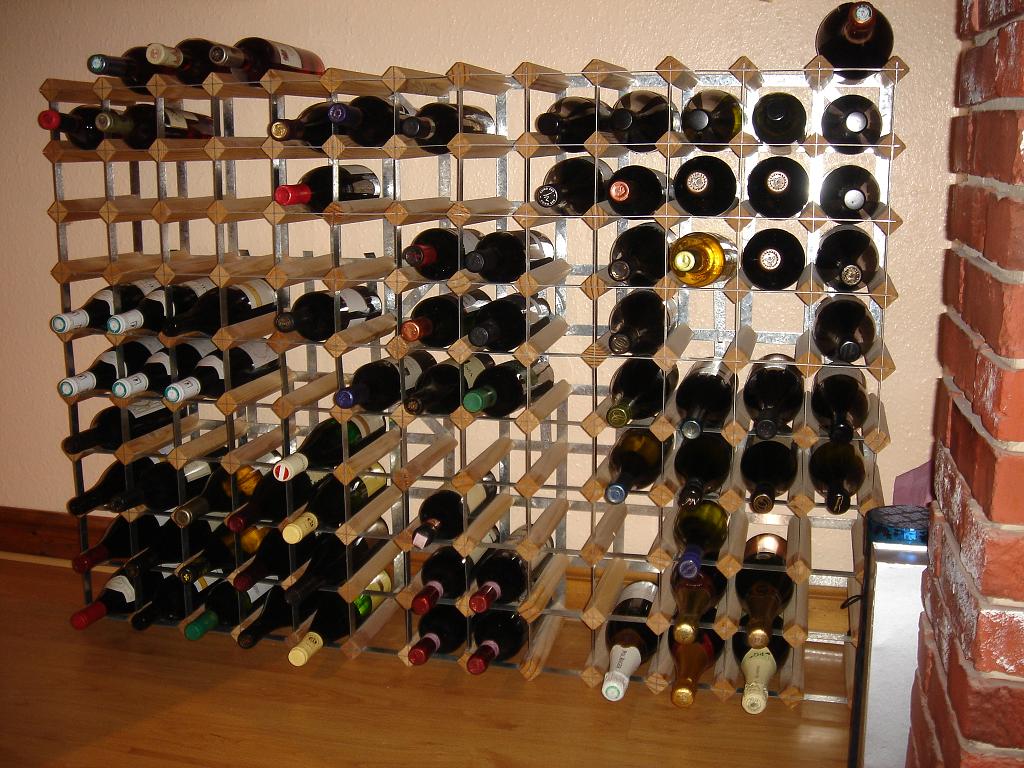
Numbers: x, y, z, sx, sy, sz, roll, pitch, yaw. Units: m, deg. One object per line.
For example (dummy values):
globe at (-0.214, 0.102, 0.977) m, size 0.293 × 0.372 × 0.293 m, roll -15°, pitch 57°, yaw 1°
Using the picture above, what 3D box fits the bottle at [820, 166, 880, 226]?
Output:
bottle at (0.805, -0.452, 1.989) m, size 0.144 × 0.150 × 0.053 m, roll 7°, pitch 2°, yaw 4°

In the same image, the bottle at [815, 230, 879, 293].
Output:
bottle at (0.812, -0.293, 2.048) m, size 0.129 × 0.139 × 0.348 m, roll 0°, pitch 13°, yaw 21°

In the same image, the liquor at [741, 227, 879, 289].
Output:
liquor at (0.720, -0.329, 2.146) m, size 0.374 × 0.150 × 0.362 m, roll 6°, pitch 9°, yaw 19°

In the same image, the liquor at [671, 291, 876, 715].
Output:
liquor at (0.632, 0.283, 2.103) m, size 0.497 × 0.676 × 0.576 m, roll 3°, pitch -1°, yaw 23°

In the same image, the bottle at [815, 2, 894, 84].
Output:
bottle at (0.792, -0.809, 1.954) m, size 0.165 × 0.182 × 0.209 m, roll 3°, pitch -1°, yaw 20°

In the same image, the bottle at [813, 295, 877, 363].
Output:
bottle at (0.811, -0.131, 2.064) m, size 0.129 × 0.139 × 0.348 m, roll 1°, pitch 15°, yaw 19°

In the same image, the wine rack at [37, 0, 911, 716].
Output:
wine rack at (-0.055, -0.049, 2.278) m, size 1.921 × 1.650 × 0.421 m, roll 3°, pitch 24°, yaw 15°

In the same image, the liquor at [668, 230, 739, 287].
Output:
liquor at (0.460, -0.299, 2.041) m, size 0.141 × 0.147 × 0.374 m, roll -1°, pitch 8°, yaw 23°
